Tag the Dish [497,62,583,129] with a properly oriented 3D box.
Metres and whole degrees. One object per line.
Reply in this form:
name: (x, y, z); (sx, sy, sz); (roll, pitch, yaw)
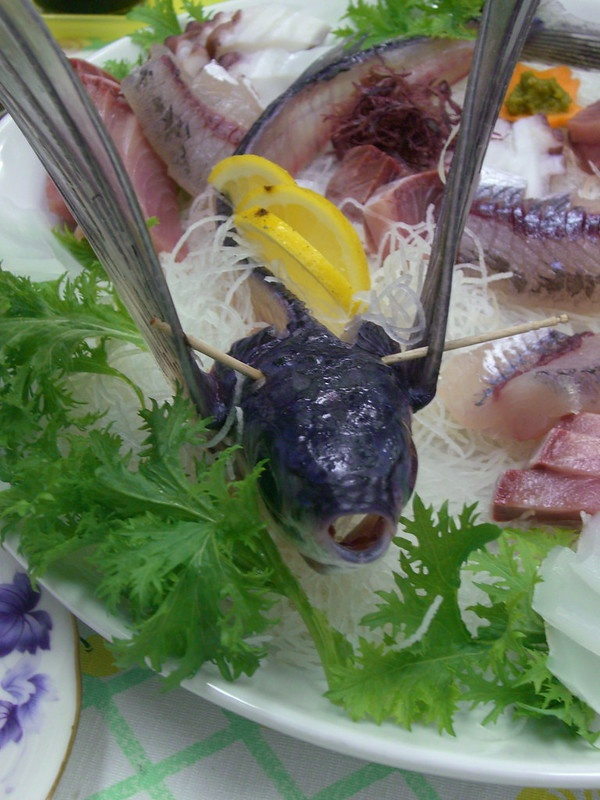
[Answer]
Dish: (0.636, -0.761, 1.941); (0.194, 0.183, 0.052); (22, 79, 23)
